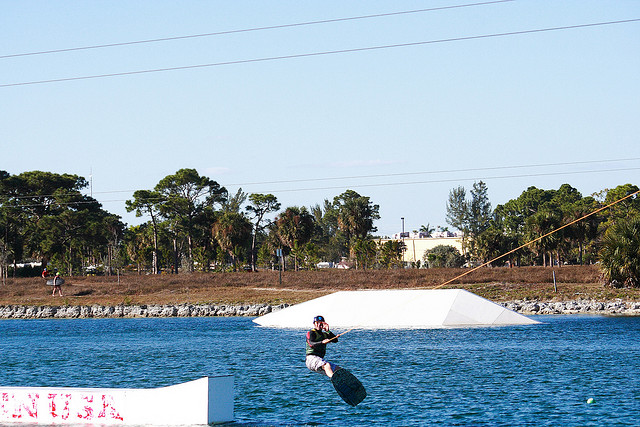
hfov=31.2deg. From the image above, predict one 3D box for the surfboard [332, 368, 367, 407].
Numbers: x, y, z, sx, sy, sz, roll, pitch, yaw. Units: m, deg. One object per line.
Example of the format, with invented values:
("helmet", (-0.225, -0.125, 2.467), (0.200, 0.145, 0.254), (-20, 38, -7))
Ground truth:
("surfboard", (1.690, 9.835, 65.061), (1.933, 2.071, 0.667), (3, -10, -27))
